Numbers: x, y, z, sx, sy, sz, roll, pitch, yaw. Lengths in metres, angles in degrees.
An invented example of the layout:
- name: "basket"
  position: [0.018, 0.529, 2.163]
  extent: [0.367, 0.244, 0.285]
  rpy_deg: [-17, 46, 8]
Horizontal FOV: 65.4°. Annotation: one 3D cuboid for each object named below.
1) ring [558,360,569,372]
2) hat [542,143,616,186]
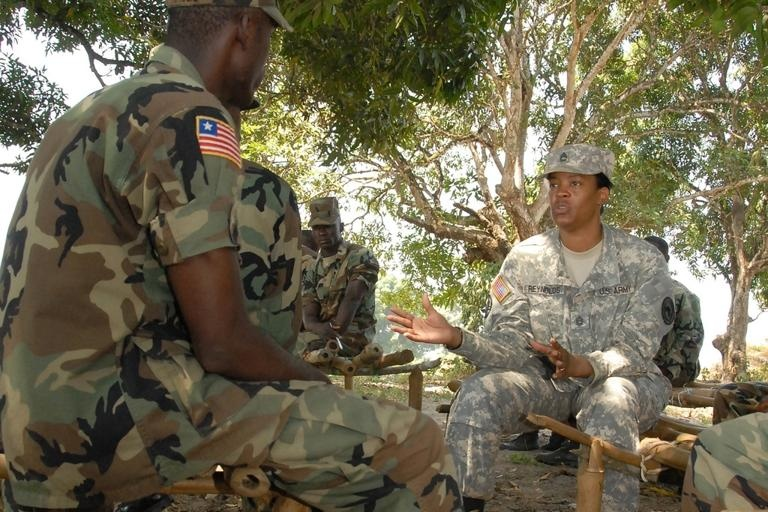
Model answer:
- name: "ring"
  position: [1.038, 0.638, 3.435]
  extent: [0.072, 0.035, 0.014]
  rpy_deg: [7, 9, -31]
- name: "hat"
  position: [1.444, -0.664, 4.231]
  extent: [0.404, 0.117, 0.291]
  rpy_deg: [4, -3, -41]
